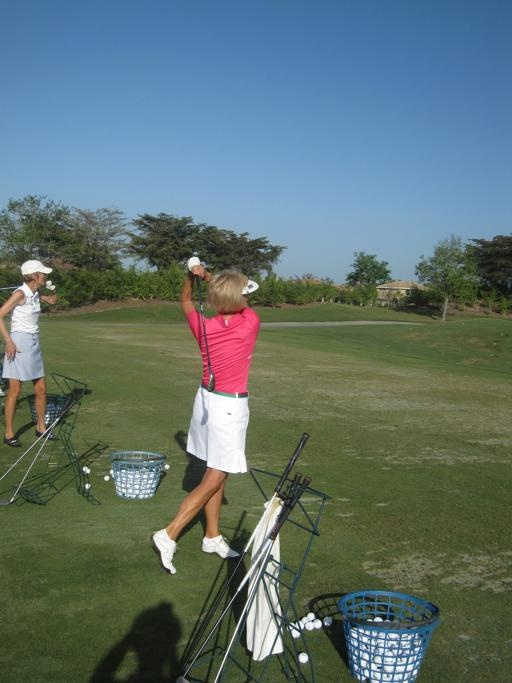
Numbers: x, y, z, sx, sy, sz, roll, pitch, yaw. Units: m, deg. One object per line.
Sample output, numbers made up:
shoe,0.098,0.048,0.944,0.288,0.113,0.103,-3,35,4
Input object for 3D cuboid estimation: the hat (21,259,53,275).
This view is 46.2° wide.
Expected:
hat,-2.444,-0.843,6.872,0.286,0.163,0.421,10,11,43

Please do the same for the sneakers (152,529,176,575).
sneakers,-0.555,1.282,3.640,0.147,0.260,0.118,3,6,5

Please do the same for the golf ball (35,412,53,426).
golf ball,-2.556,0.935,7.277,0.226,0.137,0.206,1,-4,0

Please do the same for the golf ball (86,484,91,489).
golf ball,-1.481,1.276,5.321,0.037,0.025,0.037,0,0,0

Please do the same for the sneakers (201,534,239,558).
sneakers,-0.276,1.348,4.037,0.320,0.123,0.106,8,-2,13

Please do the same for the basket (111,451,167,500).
basket,-1.009,1.142,5.254,0.484,0.283,0.440,3,3,-1

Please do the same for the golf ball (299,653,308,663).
golf ball,0.224,1.468,2.803,0.045,0.056,0.045,2,6,0

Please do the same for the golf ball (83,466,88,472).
golf ball,-1.606,1.206,5.722,0.033,0.037,0.042,-4,-4,-32

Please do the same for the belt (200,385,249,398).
belt,-0.197,0.314,3.858,0.292,0.075,0.220,1,5,-11
